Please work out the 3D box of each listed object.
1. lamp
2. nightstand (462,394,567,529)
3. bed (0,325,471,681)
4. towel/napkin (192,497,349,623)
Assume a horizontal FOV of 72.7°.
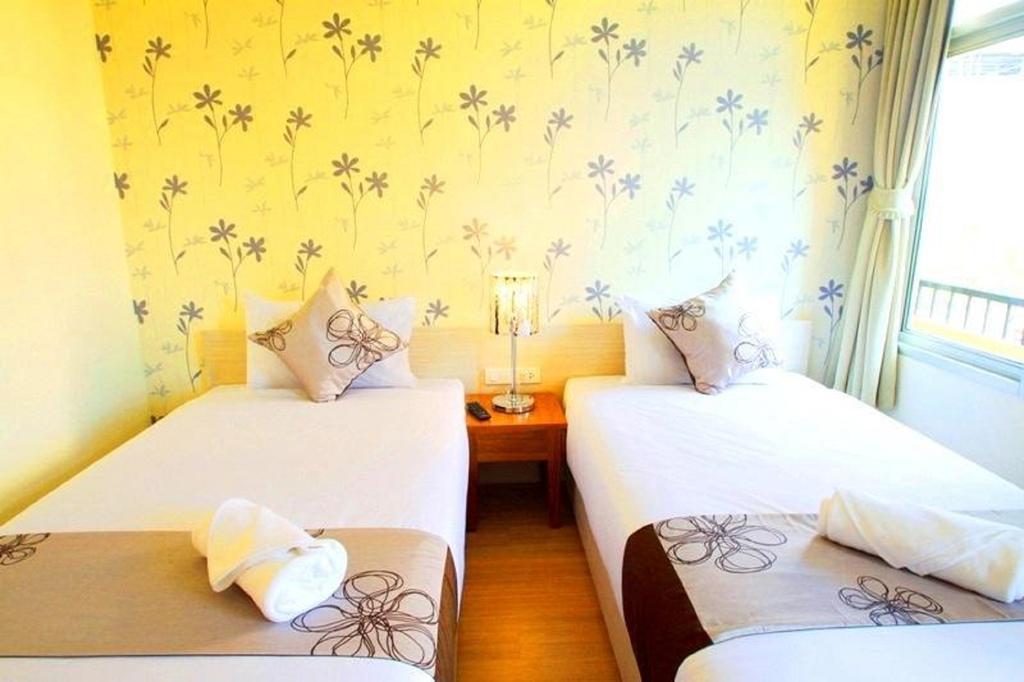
[{"bbox_3d":[0.008,-0.008,3.890,0.266,0.765,0.350,-3,14,-2],"label":"lamp"},{"bbox_3d":[0.058,0.670,4.048,0.663,0.662,0.614,-1,17,-3],"label":"nightstand"},{"bbox_3d":[-1.067,0.614,3.175,1.701,0.928,2.028,-2,13,1],"label":"bed"},{"bbox_3d":[-0.942,0.775,2.551,0.558,0.222,0.415,19,22,28],"label":"towel/napkin"}]
